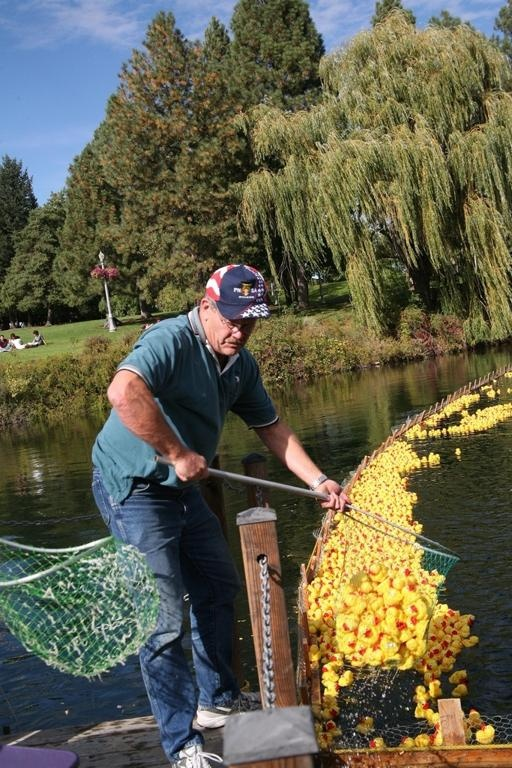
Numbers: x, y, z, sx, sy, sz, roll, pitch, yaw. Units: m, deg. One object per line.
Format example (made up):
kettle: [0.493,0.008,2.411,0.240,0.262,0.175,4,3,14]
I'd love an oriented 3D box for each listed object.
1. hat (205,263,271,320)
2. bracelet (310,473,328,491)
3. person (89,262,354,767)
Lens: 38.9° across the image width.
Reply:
hat: [-0.085,-0.388,3.289,0.224,0.159,0.309,-6,33,-22]
bracelet: [0.331,0.524,3.873,0.070,0.050,0.079,-40,-9,17]
person: [-0.211,0.571,3.439,0.861,1.598,1.228,-7,6,25]
